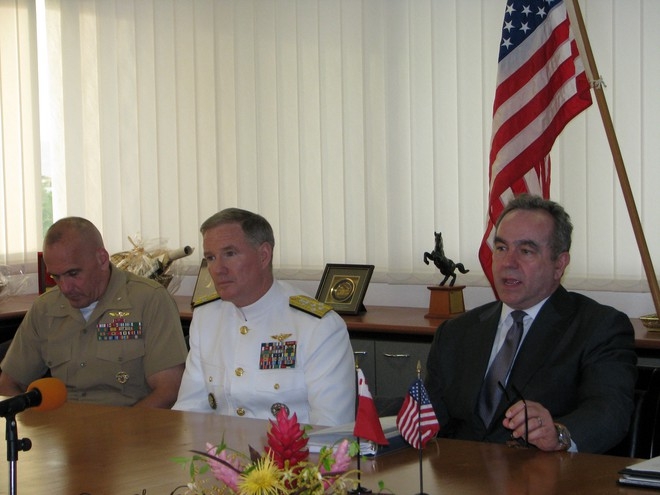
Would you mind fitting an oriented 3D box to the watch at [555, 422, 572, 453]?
[{"bbox_3d":[0.686,0.585,1.884,0.025,0.088,0.081,-13,17,4],"label":"watch"}]

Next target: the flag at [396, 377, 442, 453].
[{"bbox_3d":[0.232,0.430,1.658,0.093,0.204,0.147,-1,3,-13],"label":"flag"}]

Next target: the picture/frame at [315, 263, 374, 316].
[{"bbox_3d":[0.085,0.255,3.831,0.211,0.233,0.103,5,-14,34],"label":"picture/frame"}]

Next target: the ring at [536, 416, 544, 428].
[{"bbox_3d":[0.593,0.506,1.813,0.017,0.030,0.010,-2,-3,14],"label":"ring"}]
